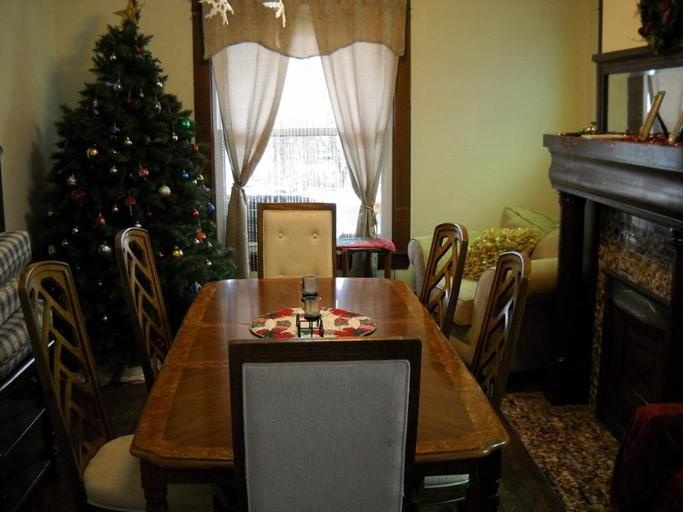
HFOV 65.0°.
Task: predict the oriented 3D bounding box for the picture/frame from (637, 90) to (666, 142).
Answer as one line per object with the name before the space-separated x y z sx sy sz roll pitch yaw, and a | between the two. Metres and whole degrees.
picture/frame | 1.549 -0.699 2.682 0.094 0.235 0.342 7 16 30

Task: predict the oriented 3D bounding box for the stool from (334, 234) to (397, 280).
stool | 0.226 0.024 4.713 0.399 0.419 0.403 4 13 15

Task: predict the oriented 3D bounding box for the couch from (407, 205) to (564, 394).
couch | 1.298 0.142 4.119 0.973 1.263 1.448 3 9 -20

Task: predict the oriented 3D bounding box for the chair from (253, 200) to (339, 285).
chair | -0.267 -0.118 3.560 0.412 0.506 0.680 0 26 -3
